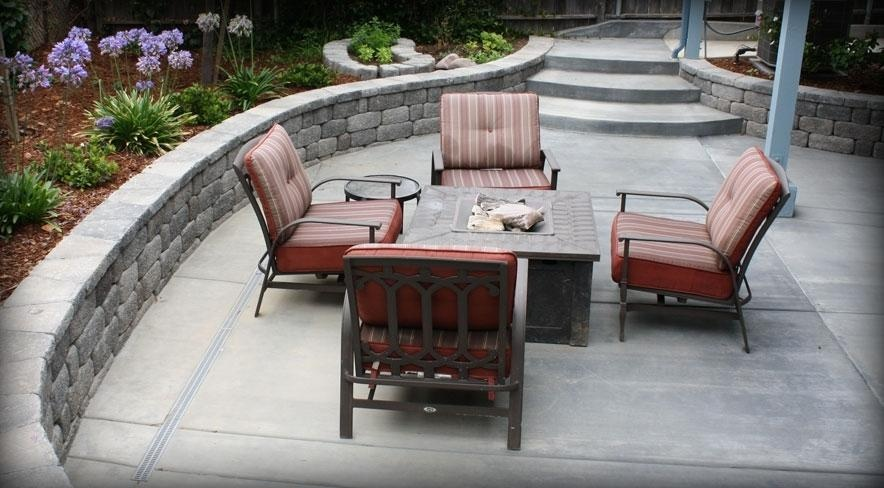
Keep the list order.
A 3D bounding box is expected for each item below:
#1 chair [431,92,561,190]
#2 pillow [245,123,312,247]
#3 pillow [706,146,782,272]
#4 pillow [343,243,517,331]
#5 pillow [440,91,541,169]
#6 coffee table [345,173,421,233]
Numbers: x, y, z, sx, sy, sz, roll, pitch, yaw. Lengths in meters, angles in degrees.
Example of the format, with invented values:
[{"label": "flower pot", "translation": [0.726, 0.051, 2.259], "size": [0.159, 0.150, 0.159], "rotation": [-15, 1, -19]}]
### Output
[{"label": "chair", "translation": [0.534, -1.003, 7.780], "size": [1.645, 1.315, 1.293], "rotation": [-1, 43, -1]}, {"label": "pillow", "translation": [-1.716, -0.640, 6.543], "size": [0.617, 0.997, 1.248], "rotation": [11, 28, -3]}, {"label": "pillow", "translation": [2.923, -0.333, 6.024], "size": [0.643, 0.931, 0.935], "rotation": [6, 21, 21]}, {"label": "pillow", "translation": [0.164, 0.525, 5.505], "size": [1.636, 0.727, 1.482], "rotation": [0, -5, 11]}, {"label": "pillow", "translation": [0.598, -1.358, 7.657], "size": [1.503, 0.908, 0.323], "rotation": [-1, 4, -2]}, {"label": "coffee table", "translation": [-0.676, -0.495, 7.229], "size": [0.839, 0.357, 0.730], "rotation": [-8, 36, -17]}]
